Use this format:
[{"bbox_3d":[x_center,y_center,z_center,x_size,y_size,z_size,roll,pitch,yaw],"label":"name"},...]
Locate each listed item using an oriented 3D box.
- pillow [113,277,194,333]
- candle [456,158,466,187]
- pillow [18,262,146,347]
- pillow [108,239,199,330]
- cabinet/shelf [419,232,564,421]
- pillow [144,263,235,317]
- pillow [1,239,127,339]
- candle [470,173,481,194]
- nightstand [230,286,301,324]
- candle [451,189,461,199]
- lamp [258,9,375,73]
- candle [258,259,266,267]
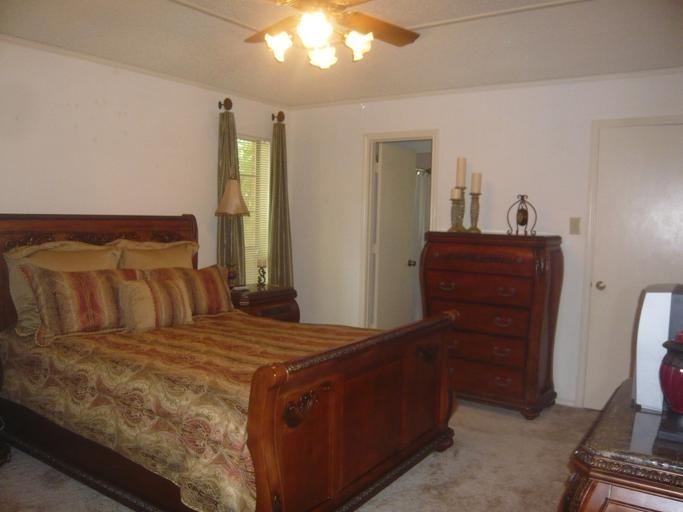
[{"bbox_3d":[-1.366,0.351,3.833,0.418,0.368,0.125,2,-17,-45],"label":"pillow"},{"bbox_3d":[1.110,-0.775,4.851,0.085,0.266,0.178,3,10,11],"label":"candle"},{"bbox_3d":[-1.832,0.307,3.595,0.653,0.503,0.176,-2,-23,-42],"label":"pillow"},{"bbox_3d":[-1.425,0.205,3.990,0.184,0.603,0.638,-14,-14,29],"label":"pillow"},{"bbox_3d":[1.272,0.598,4.403,1.468,1.927,0.781,1,3,31],"label":"cabinet/shelf"},{"bbox_3d":[-1.131,0.265,4.260,0.170,0.381,0.545,-30,-20,36],"label":"pillow"},{"bbox_3d":[-2.114,0.173,3.711,0.663,0.655,0.192,1,-30,-45],"label":"pillow"},{"bbox_3d":[1.235,-0.665,4.816,0.080,0.195,0.078,5,11,18],"label":"candle"},{"bbox_3d":[-0.699,0.445,5.061,0.345,0.413,0.585,2,3,36],"label":"nightstand"},{"bbox_3d":[1.048,-0.573,4.798,0.089,0.109,0.090,-1,7,-6],"label":"candle"},{"bbox_3d":[-0.175,-1.498,3.617,0.747,0.287,0.685,3,17,7],"label":"lamp"},{"bbox_3d":[-0.783,0.064,5.138,0.079,0.061,0.080,0,4,-6],"label":"candle"}]
